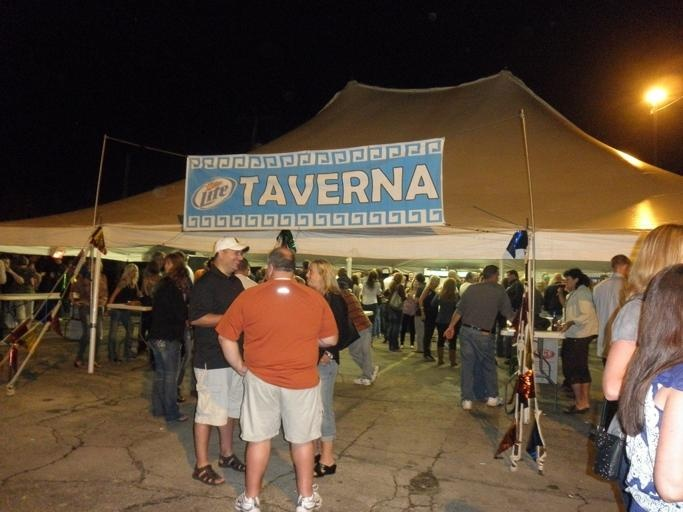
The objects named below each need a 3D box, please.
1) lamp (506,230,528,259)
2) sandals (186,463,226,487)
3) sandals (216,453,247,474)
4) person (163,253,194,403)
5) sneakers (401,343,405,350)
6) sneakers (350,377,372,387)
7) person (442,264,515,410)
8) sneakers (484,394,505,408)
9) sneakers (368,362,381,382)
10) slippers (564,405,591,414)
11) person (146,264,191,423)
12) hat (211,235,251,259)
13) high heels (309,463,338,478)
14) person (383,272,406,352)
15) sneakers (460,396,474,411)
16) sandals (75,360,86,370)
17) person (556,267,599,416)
[{"bbox_3d":[2.373,-0.157,7.046,0.128,0.383,0.408,1,3,-17],"label":"lamp"},{"bbox_3d":[-1.413,2.268,5.513,0.303,0.145,0.170,5,2,28],"label":"sandals"},{"bbox_3d":[-1.213,2.278,5.851,0.375,0.175,0.179,3,-2,13],"label":"sandals"},{"bbox_3d":[-2.267,1.061,7.286,0.644,2.161,0.602,0,6,-21],"label":"person"},{"bbox_3d":[1.621,2.413,13.959,0.164,0.108,0.170,1,-2,13],"label":"sneakers"},{"bbox_3d":[0.362,2.258,9.422,0.290,0.139,0.137,4,-7,3],"label":"sneakers"},{"bbox_3d":[2.176,1.222,8.281,0.902,2.162,0.840,1,2,-8],"label":"person"},{"bbox_3d":[2.333,2.226,8.128,0.338,0.150,0.126,-4,23,-23],"label":"sneakers"},{"bbox_3d":[0.599,2.146,9.608,0.112,0.343,0.147,1,-41,23],"label":"sneakers"},{"bbox_3d":[3.588,2.332,8.015,0.354,0.143,0.144,1,-5,12],"label":"slippers"},{"bbox_3d":[-2.320,1.124,7.072,0.512,2.180,0.436,2,2,-6],"label":"person"},{"bbox_3d":[-1.267,-0.110,5.919,0.300,0.157,0.227,-3,1,1],"label":"hat"},{"bbox_3d":[-0.194,2.321,5.674,0.286,0.124,0.104,2,-2,-40],"label":"high heels"},{"bbox_3d":[1.405,1.400,13.385,0.413,1.964,0.602,2,2,-2],"label":"person"},{"bbox_3d":[1.894,2.234,7.892,0.106,0.135,0.195,1,2,5],"label":"sneakers"},{"bbox_3d":[-4.858,2.011,9.772,0.188,0.129,0.209,1,3,-19],"label":"sandals"},{"bbox_3d":[3.664,1.317,8.162,0.527,2.210,1.113,3,3,24],"label":"person"}]
